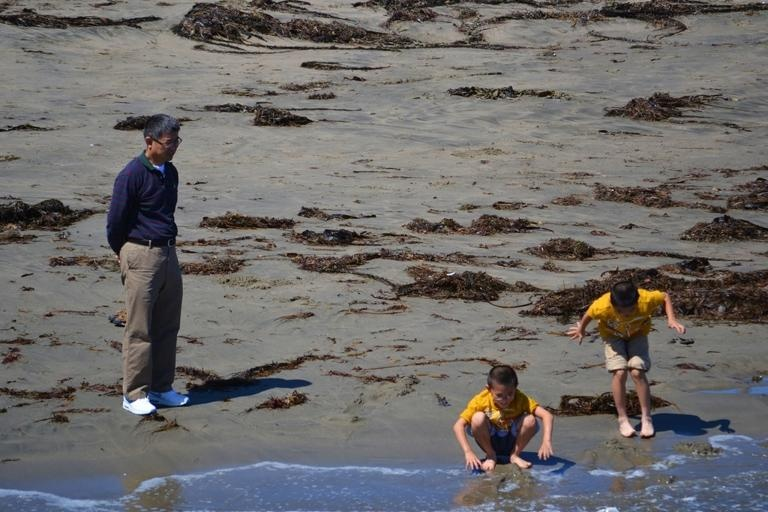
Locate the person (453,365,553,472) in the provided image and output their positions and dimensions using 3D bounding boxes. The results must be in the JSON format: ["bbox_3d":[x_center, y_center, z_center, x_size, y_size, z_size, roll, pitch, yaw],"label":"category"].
[{"bbox_3d":[1.866,2.526,16.929,1.519,1.660,0.510,1,4,2],"label":"person"}]

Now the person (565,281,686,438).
[{"bbox_3d":[3.872,1.643,17.313,1.540,2.486,0.411,1,4,6],"label":"person"}]
